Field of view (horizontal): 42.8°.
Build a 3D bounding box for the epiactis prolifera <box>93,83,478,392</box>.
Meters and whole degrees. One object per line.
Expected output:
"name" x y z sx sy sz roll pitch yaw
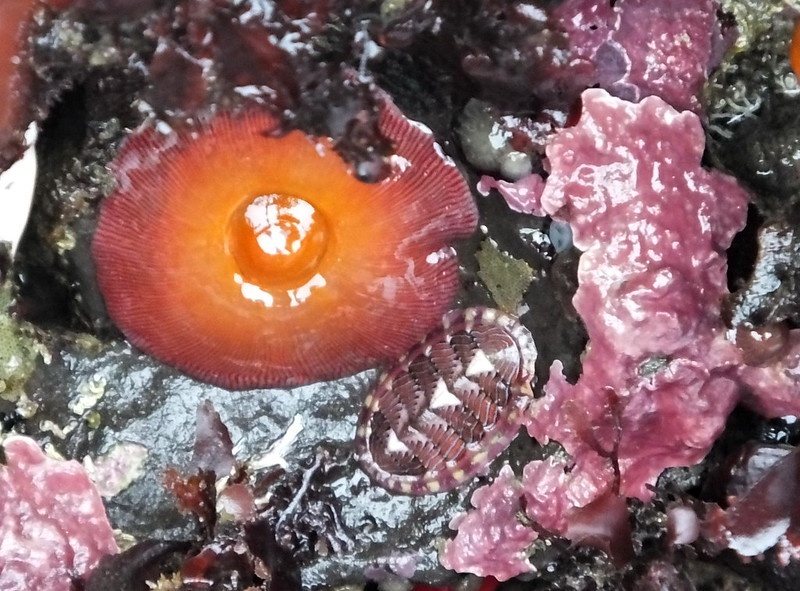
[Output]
"epiactis prolifera" -0.435 -0.172 3.722 1.338 0.365 0.948 -8 87 -4
